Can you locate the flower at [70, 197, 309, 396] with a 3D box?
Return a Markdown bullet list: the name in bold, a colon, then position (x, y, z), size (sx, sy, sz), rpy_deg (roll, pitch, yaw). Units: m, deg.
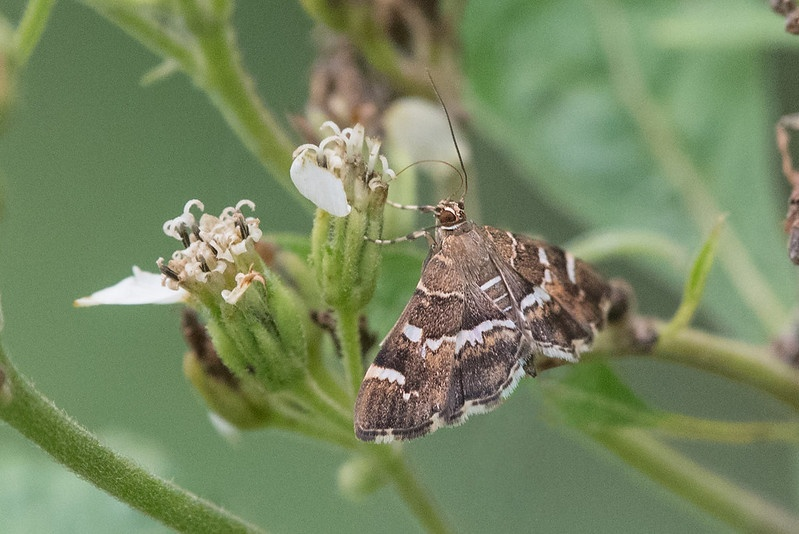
- **flower**: position (-0.345, 0.042, 1.396), size (0.374, 0.321, 0.150), rpy_deg (4, 4, 10)
